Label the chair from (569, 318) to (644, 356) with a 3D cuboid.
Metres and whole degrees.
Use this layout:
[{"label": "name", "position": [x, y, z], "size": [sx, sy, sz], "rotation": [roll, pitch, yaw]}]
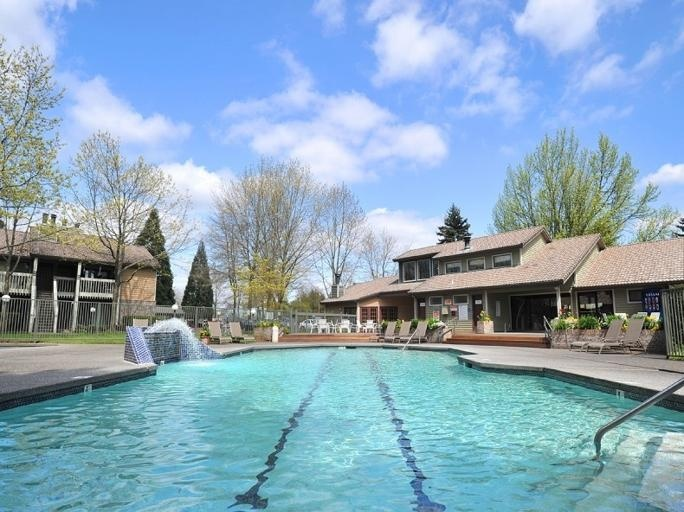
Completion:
[{"label": "chair", "position": [11.591, 3.404, 17.909], "size": [2.449, 1.353, 2.898], "rotation": [-6, -11, 16]}]
